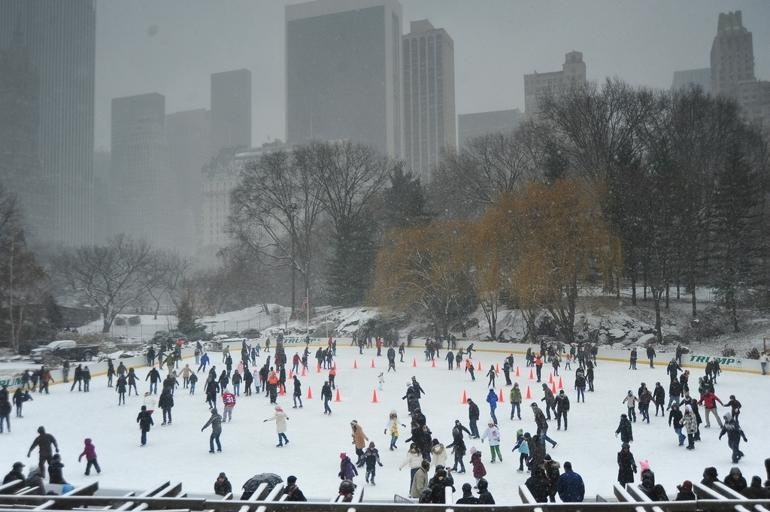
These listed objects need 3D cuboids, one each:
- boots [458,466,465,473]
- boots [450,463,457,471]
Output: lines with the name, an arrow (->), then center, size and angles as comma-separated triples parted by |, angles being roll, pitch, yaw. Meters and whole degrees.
boots -> 6.833, 18.821, 93.057 | 0.541, 0.672, 0.501 | -2, -5, 9
boots -> 6.172, 18.673, 93.098 | 0.433, 0.624, 0.644 | -1, -5, 0
